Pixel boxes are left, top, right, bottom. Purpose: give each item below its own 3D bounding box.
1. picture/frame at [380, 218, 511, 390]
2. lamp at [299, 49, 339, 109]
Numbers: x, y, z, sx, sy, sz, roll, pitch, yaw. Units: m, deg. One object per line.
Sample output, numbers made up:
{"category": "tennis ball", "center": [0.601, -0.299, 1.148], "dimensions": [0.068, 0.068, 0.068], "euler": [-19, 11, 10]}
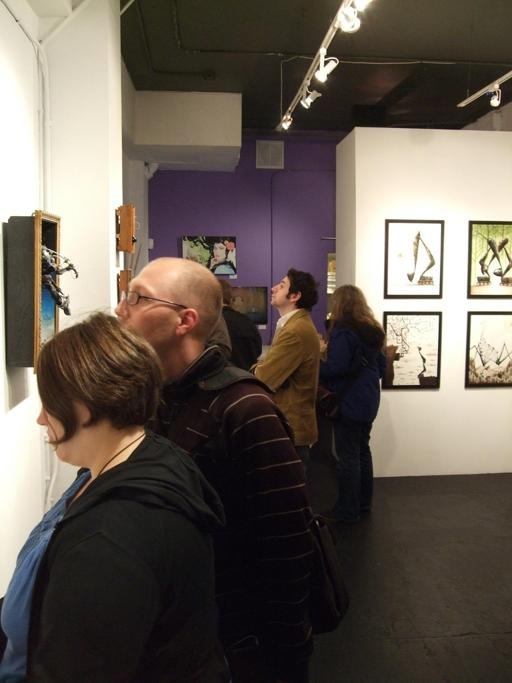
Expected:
{"category": "picture/frame", "center": [1.575, -0.379, 4.849], "dimensions": [1.254, 1.615, 0.034], "euler": [0, 4, 0]}
{"category": "lamp", "center": [0.450, -1.839, 4.023], "dimensions": [0.135, 0.402, 0.090], "euler": [25, 6, 10]}
